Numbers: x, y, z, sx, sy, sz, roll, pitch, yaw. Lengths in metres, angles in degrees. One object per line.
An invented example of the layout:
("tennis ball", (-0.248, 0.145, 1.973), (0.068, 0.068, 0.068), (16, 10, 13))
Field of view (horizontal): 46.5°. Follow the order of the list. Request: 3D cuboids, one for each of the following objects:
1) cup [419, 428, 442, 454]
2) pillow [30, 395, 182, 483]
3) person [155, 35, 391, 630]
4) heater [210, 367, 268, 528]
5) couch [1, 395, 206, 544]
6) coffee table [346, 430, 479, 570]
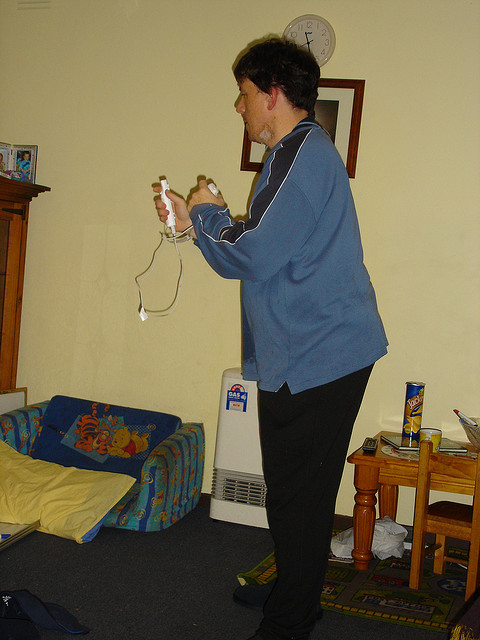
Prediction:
("cup", (0.735, 0.448, 2.152), (0.086, 0.099, 0.092), (0, 8, 0))
("pillow", (-0.650, 0.576, 2.740), (0.606, 0.360, 0.145), (8, -18, 18))
("person", (0.080, 0.055, 1.258), (0.335, 1.363, 0.448), (1, -3, 42))
("heater", (-0.009, 0.574, 2.542), (0.263, 0.701, 0.147), (1, -3, 41))
("couch", (-0.650, 0.662, 2.507), (0.683, 0.298, 0.600), (5, 1, 16))
("coffee table", (0.639, 0.678, 2.199), (0.515, 0.386, 0.519), (5, -6, 11))
